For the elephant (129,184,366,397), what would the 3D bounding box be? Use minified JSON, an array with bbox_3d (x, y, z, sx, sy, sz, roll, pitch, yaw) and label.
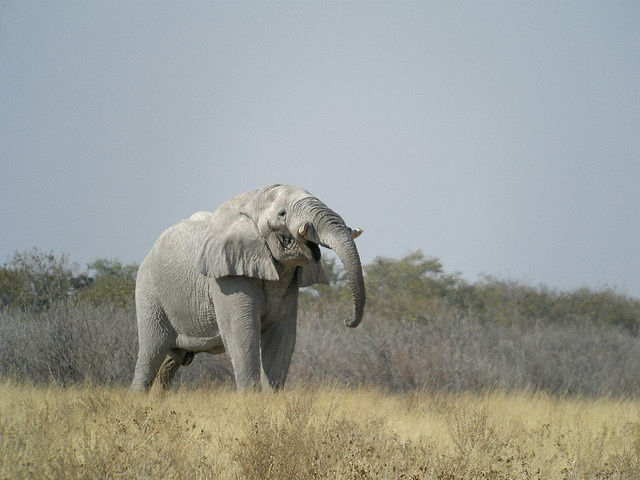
[{"bbox_3d":[-1.333,0.927,16.573,3.894,3.841,1.925,-4,1,27],"label":"elephant"}]
